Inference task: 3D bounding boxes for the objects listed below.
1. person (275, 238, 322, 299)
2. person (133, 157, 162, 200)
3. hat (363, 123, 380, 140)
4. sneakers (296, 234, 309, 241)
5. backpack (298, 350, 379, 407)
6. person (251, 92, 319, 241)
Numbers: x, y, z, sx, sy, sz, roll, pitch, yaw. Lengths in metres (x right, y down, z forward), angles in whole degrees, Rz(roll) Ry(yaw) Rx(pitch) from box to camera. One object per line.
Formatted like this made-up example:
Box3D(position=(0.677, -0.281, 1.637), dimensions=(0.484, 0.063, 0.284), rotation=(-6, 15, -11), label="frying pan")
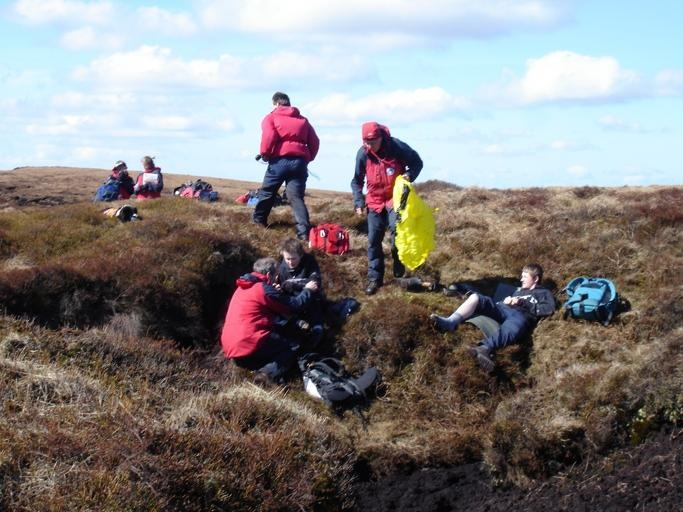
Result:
Box3D(position=(-0.841, 0.278, 11.793), dimensions=(0.770, 1.216, 0.729), rotation=(-1, 24, 16), label="person")
Box3D(position=(-4.961, -2.005, 16.674), dimensions=(0.695, 1.041, 1.486), rotation=(-3, 8, -18), label="person")
Box3D(position=(0.521, -2.235, 11.652), dimensions=(0.304, 0.286, 0.225), rotation=(0, 8, 8), label="hat")
Box3D(position=(-0.876, -0.423, 14.448), dimensions=(0.177, 0.195, 0.128), rotation=(0, 1, 3), label="sneakers")
Box3D(position=(-0.177, 1.962, 10.575), dimensions=(0.968, 0.369, 0.783), rotation=(32, 37, 30), label="backpack")
Box3D(position=(-1.197, -1.950, 14.386), dimensions=(1.372, 3.219, 1.108), rotation=(-1, 7, -5), label="person")
